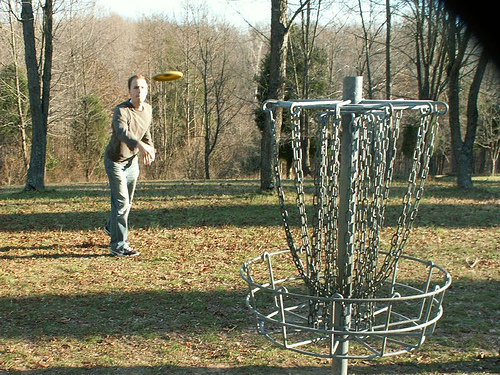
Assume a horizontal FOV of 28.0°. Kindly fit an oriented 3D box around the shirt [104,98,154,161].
[{"bbox_3d":[-3.638,-1.794,30.677,1.053,1.925,1.208,3,6,42],"label":"shirt"}]
